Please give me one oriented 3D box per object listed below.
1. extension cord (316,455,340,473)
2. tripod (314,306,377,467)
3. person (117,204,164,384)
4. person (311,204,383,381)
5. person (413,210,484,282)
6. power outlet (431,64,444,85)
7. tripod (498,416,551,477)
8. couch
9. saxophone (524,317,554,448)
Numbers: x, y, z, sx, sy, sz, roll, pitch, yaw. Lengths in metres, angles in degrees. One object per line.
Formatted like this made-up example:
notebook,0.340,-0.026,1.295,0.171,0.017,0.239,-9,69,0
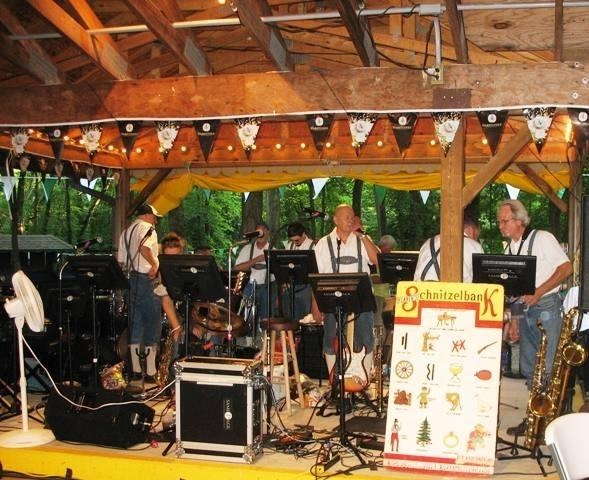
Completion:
extension cord,0.263,1.980,6.585,0.146,0.079,0.320,-5,0,34
tripod,0.514,1.475,7.880,0.440,1.455,0.545,4,2,15
person,-1.858,0.578,8.992,0.527,2.358,0.624,2,3,-21
person,0.549,0.481,8.088,0.637,1.984,0.588,3,3,-1
person,1.668,0.103,7.934,0.522,0.825,0.537,3,2,-17
power outlet,1.431,-1.696,7.595,0.166,0.197,0.161,-4,0,12
tripod,2.103,1.859,6.890,0.464,0.474,0.873,-4,0,17
couch,-0.186,1.346,8.175,0.492,1.023,0.516,1,0,27
saxophone,2.288,1.399,7.001,0.266,0.999,0.428,3,2,16
